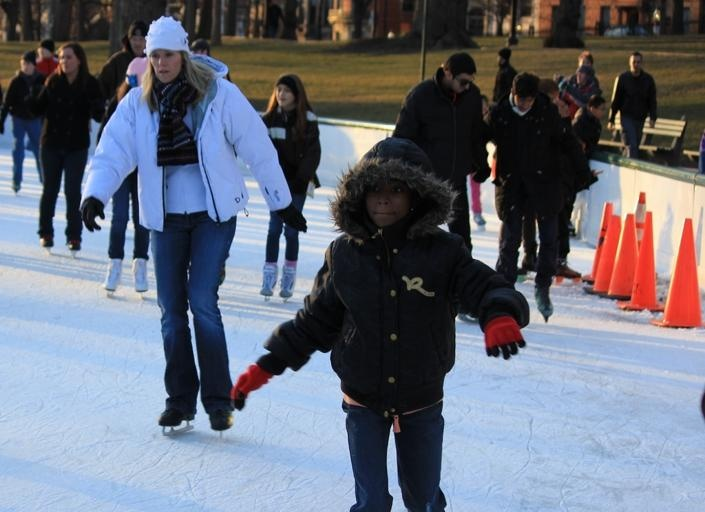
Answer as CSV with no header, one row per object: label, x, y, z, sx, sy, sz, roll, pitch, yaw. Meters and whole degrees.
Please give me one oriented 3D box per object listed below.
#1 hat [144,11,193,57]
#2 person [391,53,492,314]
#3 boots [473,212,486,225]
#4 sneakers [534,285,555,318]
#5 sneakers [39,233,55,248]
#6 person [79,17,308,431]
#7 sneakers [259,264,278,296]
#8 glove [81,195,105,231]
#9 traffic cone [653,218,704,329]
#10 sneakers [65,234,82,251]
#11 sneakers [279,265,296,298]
hat,-1.306,-1.549,6.571,0.250,0.269,0.287,-2,3,-5
person,0.916,-0.973,9.351,0.868,2.293,0.667,-3,30,-1
boots,1.801,-0.514,13.150,0.121,0.180,0.179,-14,-9,-2
sneakers,1.855,0.447,9.086,0.115,0.380,0.164,-6,-1,8
sneakers,-3.484,-0.178,10.694,0.136,0.186,0.391,0,-3,-13
person,-1.105,-0.201,6.719,1.483,2.766,0.826,-1,-7,-11
sneakers,-0.838,0.229,9.360,0.115,0.385,0.153,3,0,8
glove,-1.770,-0.327,6.495,0.188,0.282,0.117,-1,-13,15
traffic cone,3.173,0.175,8.964,0.431,0.998,0.413,9,13,33
sneakers,-3.134,-0.152,10.536,0.178,0.228,0.504,1,0,-12
sneakers,-0.642,0.242,9.339,0.116,0.391,0.156,1,7,4
